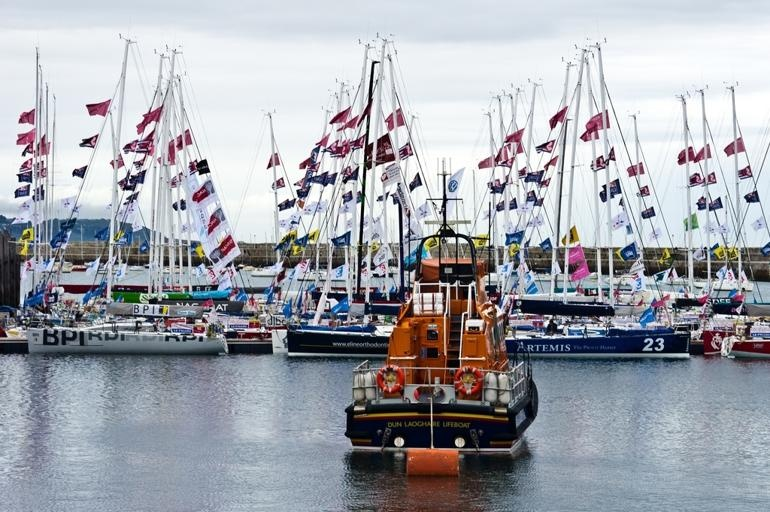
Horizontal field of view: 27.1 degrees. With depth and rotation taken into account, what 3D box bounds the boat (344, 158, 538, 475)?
[{"bbox_3d":[2.590,4.145,85.316,9.025,17.611,26.238,1,0,-3],"label":"boat"}]
